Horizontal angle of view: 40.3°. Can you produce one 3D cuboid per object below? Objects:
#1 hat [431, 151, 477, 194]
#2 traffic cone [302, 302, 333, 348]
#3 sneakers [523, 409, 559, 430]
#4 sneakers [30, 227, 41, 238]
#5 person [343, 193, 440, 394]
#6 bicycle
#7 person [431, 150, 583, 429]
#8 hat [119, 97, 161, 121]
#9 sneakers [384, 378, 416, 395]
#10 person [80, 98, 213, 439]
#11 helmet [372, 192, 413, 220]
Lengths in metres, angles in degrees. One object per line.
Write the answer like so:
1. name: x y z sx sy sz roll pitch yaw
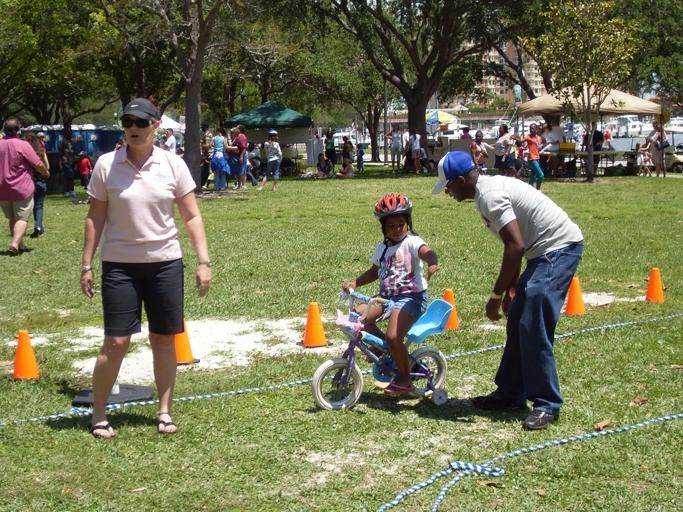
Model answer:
1. hat: 1.032 -0.771 8.552 0.430 0.267 0.287 -34 18 -1
2. traffic cone: -0.261 0.766 10.375 0.364 0.575 0.401 0 4 1
3. sneakers: 1.818 1.472 8.448 0.351 0.151 0.135 0 -3 -40
4. sneakers: -5.451 -0.407 16.726 0.177 0.227 0.156 2 -4 -16
5. person: 0.500 0.363 8.588 0.828 1.799 0.513 3 13 16
6. bicycle: 0.424 0.863 8.972 1.339 1.081 0.865 -1 7 -23
7. person: 1.597 0.288 8.471 1.156 2.379 0.674 2 13 12
8. hat: -1.780 -1.309 8.315 0.320 0.195 0.441 -4 15 -12
9. sneakers: 0.563 1.228 8.699 0.239 0.103 0.149 2 -2 -14
10. person: -1.758 0.088 8.301 1.112 2.879 0.548 -5 13 -19
11. helmet: 0.491 -0.454 8.665 0.322 0.262 0.324 1 14 7
